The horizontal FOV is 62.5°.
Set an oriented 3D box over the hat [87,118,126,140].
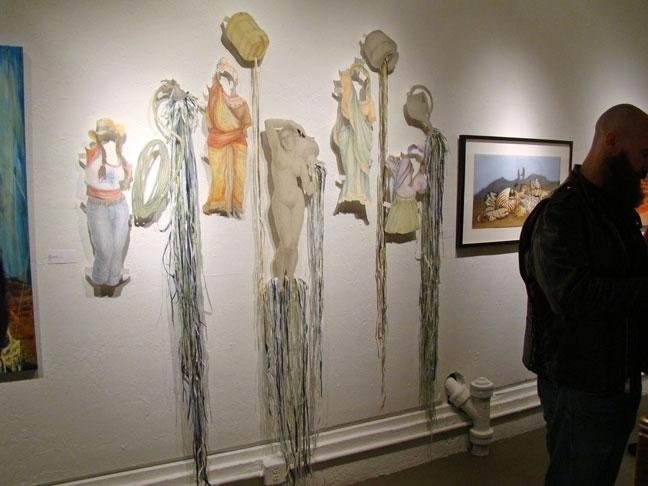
[{"bbox_3d":[-0.917,-0.474,2.256,0.094,0.047,0.099,11,17,-5],"label":"hat"}]
